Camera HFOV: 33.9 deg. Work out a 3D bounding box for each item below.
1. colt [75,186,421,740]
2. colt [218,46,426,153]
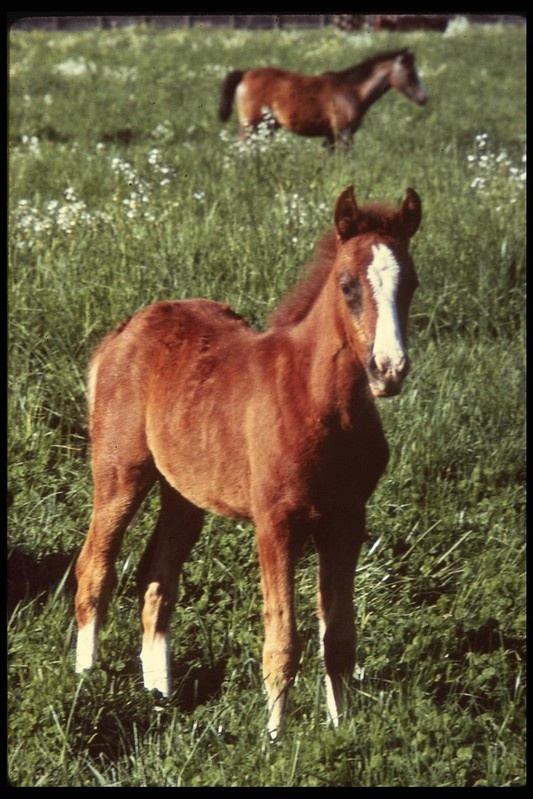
[{"bbox_3d":[-0.110,0.201,2.907,0.487,1.785,1.749,5,-4,-41],"label":"colt"},{"bbox_3d":[0.207,-1.096,3.195,0.741,0.340,0.334,2,13,10],"label":"colt"}]
